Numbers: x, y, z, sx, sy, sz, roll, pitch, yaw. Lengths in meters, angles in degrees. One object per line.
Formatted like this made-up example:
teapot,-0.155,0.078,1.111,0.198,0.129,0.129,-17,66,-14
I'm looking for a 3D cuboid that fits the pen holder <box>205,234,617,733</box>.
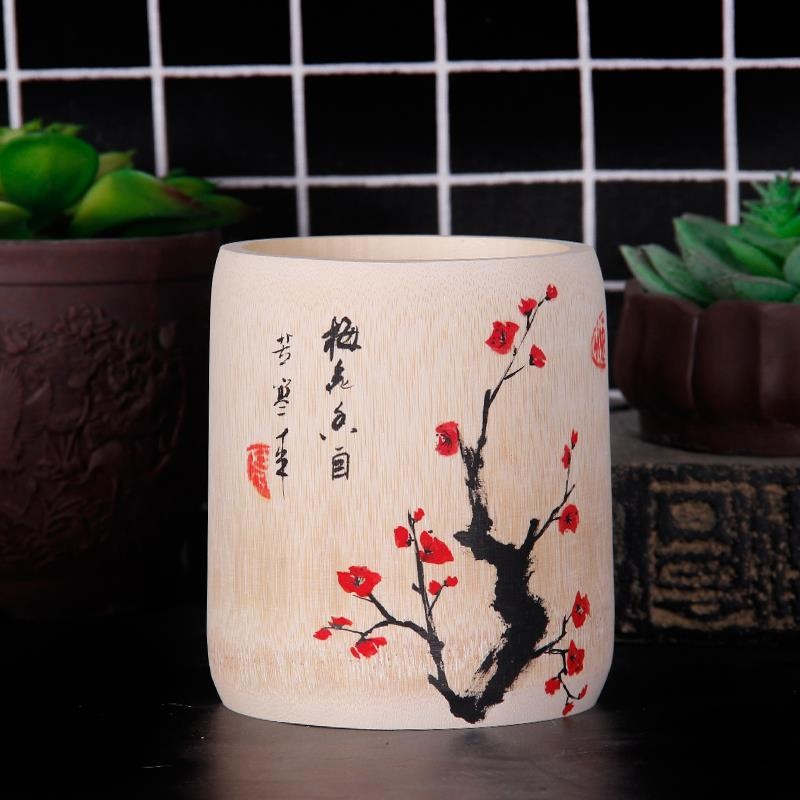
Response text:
pen holder,0.022,0.032,0.567,0.207,0.222,0.208,0,1,0
